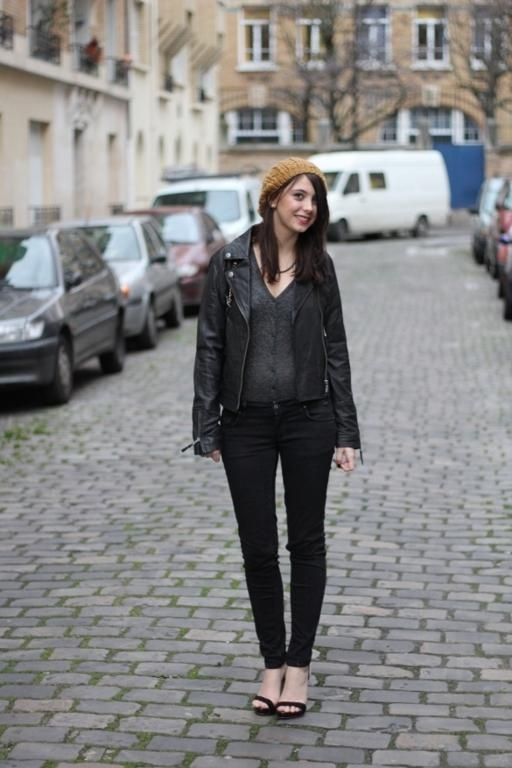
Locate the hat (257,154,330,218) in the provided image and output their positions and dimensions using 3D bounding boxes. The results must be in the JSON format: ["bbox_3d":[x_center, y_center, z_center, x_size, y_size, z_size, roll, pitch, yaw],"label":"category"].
[{"bbox_3d":[0.096,-0.559,3.279,0.179,0.165,0.227,-1,6,-1],"label":"hat"}]

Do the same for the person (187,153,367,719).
[{"bbox_3d":[0.060,0.156,3.284,0.460,1.554,0.272,0,6,5],"label":"person"}]

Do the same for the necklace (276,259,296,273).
[{"bbox_3d":[0.087,-0.315,3.188,0.046,0.034,0.029,-1,6,-3],"label":"necklace"}]
